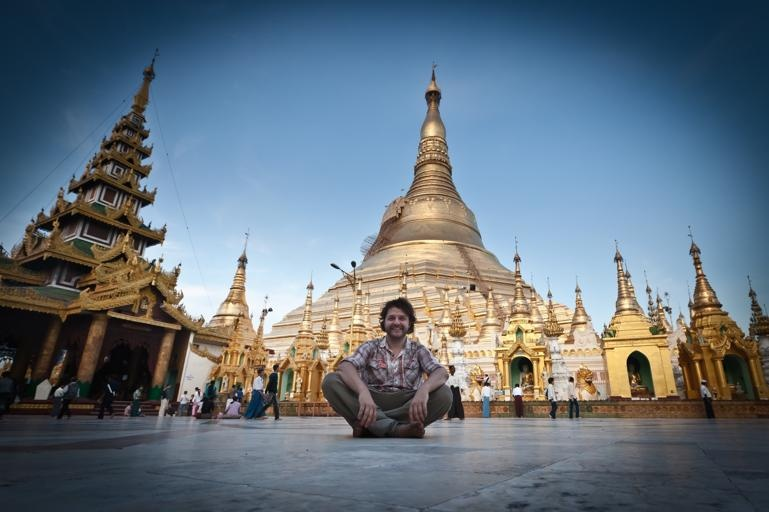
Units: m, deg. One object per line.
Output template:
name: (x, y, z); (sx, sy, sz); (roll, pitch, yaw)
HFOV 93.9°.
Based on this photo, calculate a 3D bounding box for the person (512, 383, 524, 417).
person: (4.671, 5.061, 12.500); (0.309, 1.010, 1.007); (-7, -20, 17)

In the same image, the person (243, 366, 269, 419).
person: (-3.342, 3.575, 9.399); (0.438, 1.251, 1.069); (6, -20, -16)

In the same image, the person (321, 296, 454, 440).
person: (0.042, 0.941, 3.239); (1.157, 1.234, 0.677); (3, -20, -8)

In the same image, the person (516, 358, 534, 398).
person: (7.223, 6.220, 18.221); (0.987, 1.765, 0.576); (-10, 11, 2)
